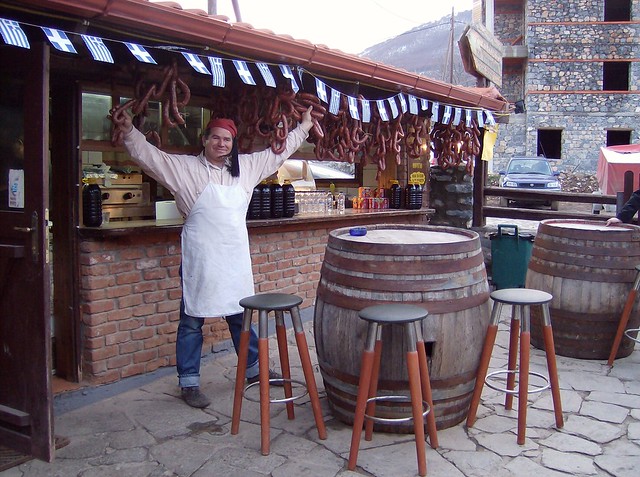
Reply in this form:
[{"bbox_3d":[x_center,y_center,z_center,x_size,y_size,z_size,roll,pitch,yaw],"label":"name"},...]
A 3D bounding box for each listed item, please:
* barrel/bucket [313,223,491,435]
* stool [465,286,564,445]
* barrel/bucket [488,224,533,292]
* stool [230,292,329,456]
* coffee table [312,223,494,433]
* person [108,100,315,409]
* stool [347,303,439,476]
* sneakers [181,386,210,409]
[{"bbox_3d":[0.477,0.702,4.125,1.229,1.564,1.281,5,14,-1],"label":"barrel/bucket"},{"bbox_3d":[1.546,0.795,3.910,0.684,1.221,0.652,-1,2,-39],"label":"stool"},{"bbox_3d":[3.110,0.343,7.927,0.672,1.111,0.739,6,12,-1],"label":"barrel/bucket"},{"bbox_3d":[-0.326,0.936,3.879,0.725,1.090,0.940,-1,11,-5],"label":"stool"},{"bbox_3d":[0.589,0.621,4.267,1.514,1.340,1.471,0,6,1],"label":"coffee table"},{"bbox_3d":[-1.030,0.145,4.520,1.179,2.555,1.122,-4,17,-38],"label":"person"},{"bbox_3d":[0.496,0.957,3.527,0.645,1.098,0.623,0,2,13],"label":"stool"},{"bbox_3d":[-1.041,1.316,4.195,0.295,0.121,0.112,1,-1,34],"label":"sneakers"}]
